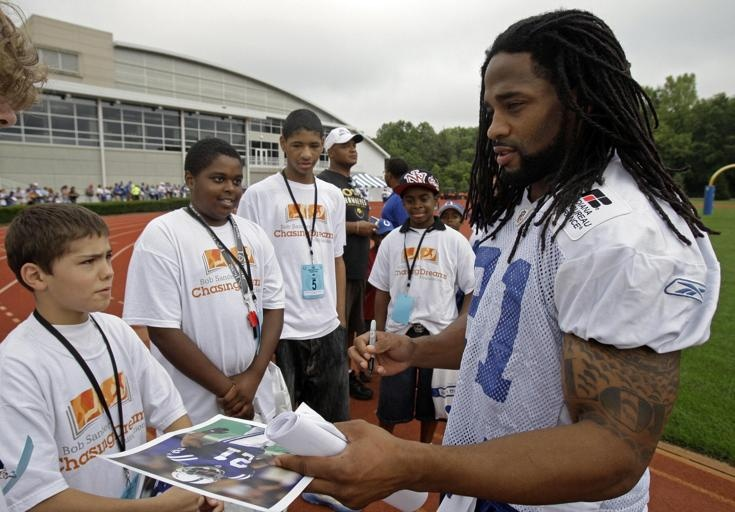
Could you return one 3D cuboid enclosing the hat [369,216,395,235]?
[{"bbox_3d":[0.142,-0.289,5.992,0.187,0.115,0.290,-10,22,-16],"label":"hat"}]
